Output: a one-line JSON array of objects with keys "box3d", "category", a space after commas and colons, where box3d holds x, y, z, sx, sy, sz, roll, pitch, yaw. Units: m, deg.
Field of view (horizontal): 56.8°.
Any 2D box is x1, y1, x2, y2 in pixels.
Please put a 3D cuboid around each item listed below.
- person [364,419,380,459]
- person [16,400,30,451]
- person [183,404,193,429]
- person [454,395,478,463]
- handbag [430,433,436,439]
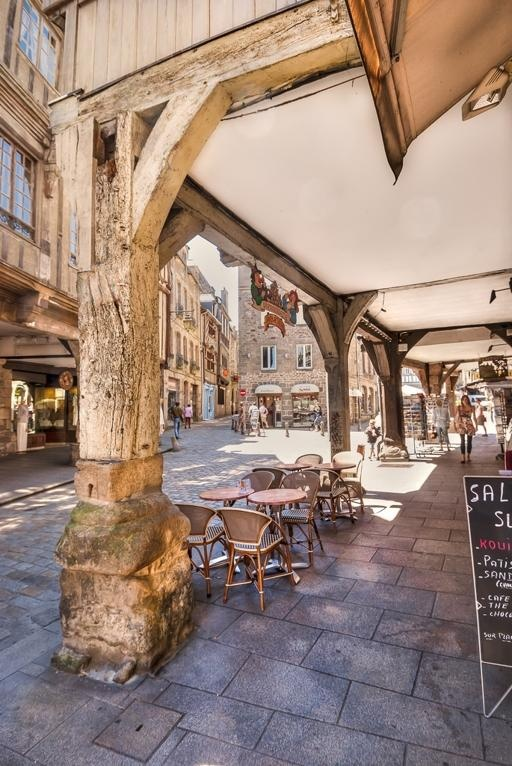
[{"box3d": [2.956, 1.434, 11.862, 0.317, 0.937, 1.160, -1, -3, 15], "category": "person"}, {"box3d": [-6.876, 1.337, 13.743, 0.266, 1.419, 0.762, 1, -3, -30], "category": "person"}, {"box3d": [-3.566, 1.742, 24.081, 0.338, 1.210, 1.761, 0, -3, -10], "category": "person"}, {"box3d": [4.789, 1.024, 10.758, 0.367, 1.519, 2.398, -2, -3, 23], "category": "person"}, {"box3d": [6.759, 2.026, 17.947, 0.214, 0.262, 0.223, 0, -12, 12], "category": "handbag"}]
